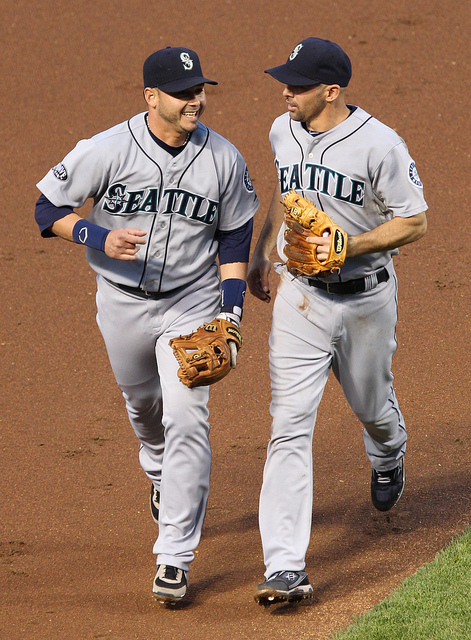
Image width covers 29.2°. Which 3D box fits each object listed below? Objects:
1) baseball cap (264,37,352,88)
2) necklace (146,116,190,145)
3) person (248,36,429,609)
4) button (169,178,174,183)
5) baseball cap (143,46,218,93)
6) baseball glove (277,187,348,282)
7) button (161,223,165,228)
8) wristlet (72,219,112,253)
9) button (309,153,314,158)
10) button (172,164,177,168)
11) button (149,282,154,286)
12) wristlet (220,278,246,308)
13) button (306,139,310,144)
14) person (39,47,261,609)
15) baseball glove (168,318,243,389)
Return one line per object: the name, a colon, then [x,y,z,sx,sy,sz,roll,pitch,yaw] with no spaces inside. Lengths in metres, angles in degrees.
baseball cap: [0.293,-1.066,3.671,0.394,0.176,0.238,-6,35,-27]
necklace: [-0.284,-0.794,3.762,0.145,0.121,0.036,3,3,-2]
person: [0.399,-0.035,3.881,0.855,2.320,1.039,-7,6,3]
button: [-0.270,-0.591,3.799,0.026,0.021,0.006,-2,5,-5]
baseball cap: [-0.240,-1.041,3.725,0.294,0.218,0.247,-6,6,1]
baseball glove: [0.304,-0.341,3.511,0.309,0.318,0.154,1,3,26]
button: [-0.307,-0.408,3.837,0.021,0.017,0.004,-4,9,-2]
wristlet: [-0.594,-0.349,3.702,0.176,0.102,0.073,19,-5,19]
button: [0.309,-0.675,3.690,0.024,0.021,0.005,3,5,15]
button: [-0.255,-0.652,3.799,0.014,0.012,0.012,-2,1,-38]
button: [-0.359,-0.158,3.904,0.018,0.014,0.002,-5,6,6]
wristlet: [-0.012,-0.124,3.983,0.123,0.147,0.091,2,-20,26]
button: [0.298,-0.738,3.718,0.005,0.020,0.021,-10,7,-24]
person: [-0.341,0.022,3.925,0.764,2.329,0.793,-4,7,23]
baseball glove: [-0.106,0.116,3.740,0.241,0.103,0.305,28,51,20]
